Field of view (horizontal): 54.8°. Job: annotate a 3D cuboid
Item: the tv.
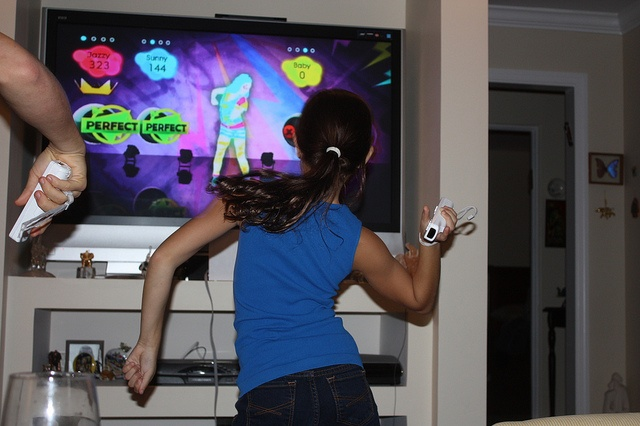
[{"bbox_3d":[-0.514,-0.327,2.966,1.302,1.020,0.411,1,-6,-7],"label":"tv"}]
